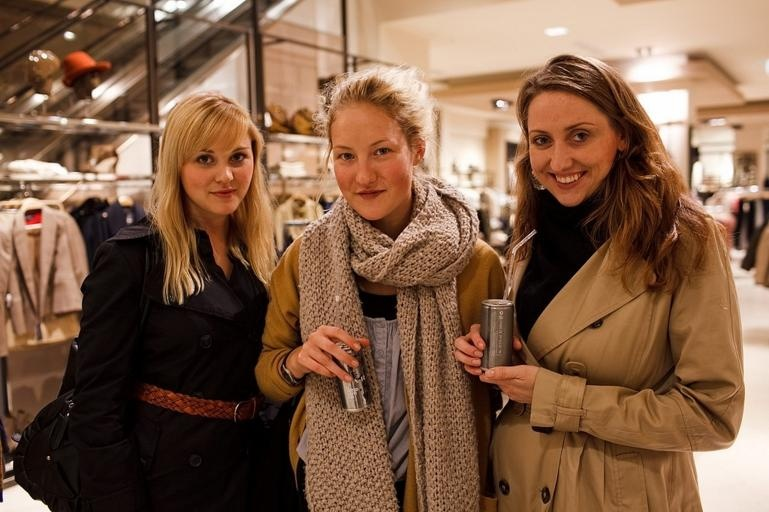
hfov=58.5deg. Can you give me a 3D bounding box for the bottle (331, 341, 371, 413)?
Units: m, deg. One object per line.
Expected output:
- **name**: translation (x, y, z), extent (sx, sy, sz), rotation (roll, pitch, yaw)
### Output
- **bottle**: translation (-0.133, 0.519, 2.880), extent (0.143, 0.318, 0.112), rotation (-1, 5, -25)

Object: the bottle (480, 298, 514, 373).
- **bottle**: translation (0.450, 0.321, 2.763), extent (0.130, 0.287, 0.069), rotation (2, 5, 3)

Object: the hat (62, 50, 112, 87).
- **hat**: translation (-2.131, -1.348, 4.902), extent (0.288, 0.263, 0.419), rotation (-1, 4, -25)
